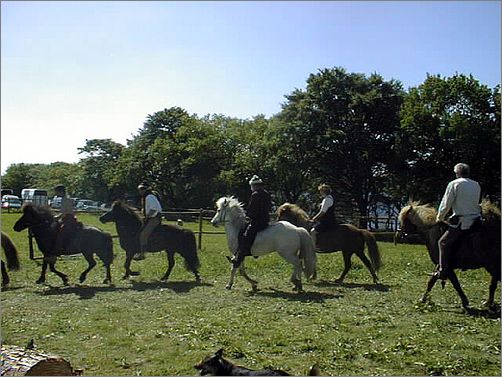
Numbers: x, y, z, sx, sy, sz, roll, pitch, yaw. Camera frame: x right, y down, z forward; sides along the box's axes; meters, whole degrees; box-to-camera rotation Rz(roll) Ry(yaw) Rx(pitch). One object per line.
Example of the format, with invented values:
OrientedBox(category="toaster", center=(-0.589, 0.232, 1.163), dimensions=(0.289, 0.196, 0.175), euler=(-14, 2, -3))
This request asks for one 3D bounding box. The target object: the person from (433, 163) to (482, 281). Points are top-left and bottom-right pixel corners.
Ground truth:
OrientedBox(category="person", center=(4.797, 0.780, 11.512), dimensions=(0.884, 2.816, 1.006), euler=(3, -3, 8))

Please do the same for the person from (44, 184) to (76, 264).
OrientedBox(category="person", center=(-5.579, 0.990, 14.612), dimensions=(0.662, 2.202, 1.246), euler=(5, -3, -21))

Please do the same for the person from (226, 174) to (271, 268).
OrientedBox(category="person", center=(0.012, 0.952, 13.858), dimensions=(1.022, 2.625, 0.567), euler=(4, -3, 0))

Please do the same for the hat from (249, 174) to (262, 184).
OrientedBox(category="hat", center=(0.110, -0.263, 14.100), dimensions=(0.411, 0.221, 0.279), euler=(3, 9, 3))
